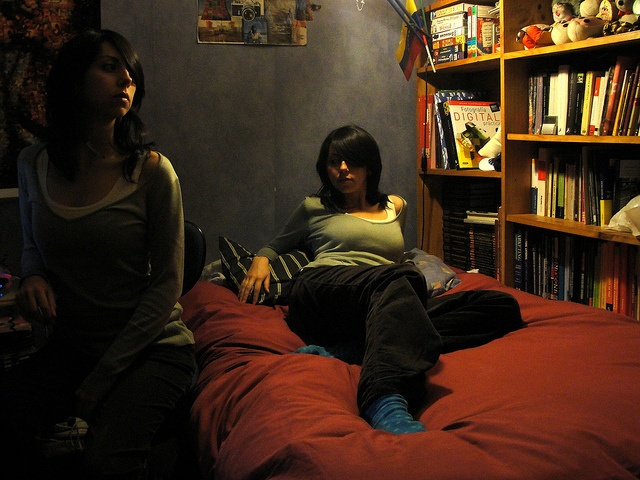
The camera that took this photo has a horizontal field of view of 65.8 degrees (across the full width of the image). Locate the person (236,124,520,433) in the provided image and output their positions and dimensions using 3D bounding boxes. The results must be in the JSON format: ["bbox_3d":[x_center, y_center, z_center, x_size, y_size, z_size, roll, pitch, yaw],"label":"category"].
[{"bbox_3d":[0.363,0.218,2.140,0.784,1.209,1.155,7,-24,-29],"label":"person"}]

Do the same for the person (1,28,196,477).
[{"bbox_3d":[-0.660,0.000,1.426,0.519,1.206,0.574,-5,12,-16],"label":"person"}]

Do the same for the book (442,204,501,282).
[{"bbox_3d":[0.896,0.013,2.927,0.115,0.269,0.345,9,-1,-19],"label":"book"}]

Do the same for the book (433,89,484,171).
[{"bbox_3d":[0.819,-0.675,2.961,0.092,0.412,0.377,-7,5,-16],"label":"book"}]

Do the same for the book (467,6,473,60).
[{"bbox_3d":[0.831,-1.165,2.748,0.013,0.265,0.044,-6,12,-20],"label":"book"}]

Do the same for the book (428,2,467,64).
[{"bbox_3d":[0.743,-1.192,2.855,0.060,0.303,0.259,-8,14,-29],"label":"book"}]
